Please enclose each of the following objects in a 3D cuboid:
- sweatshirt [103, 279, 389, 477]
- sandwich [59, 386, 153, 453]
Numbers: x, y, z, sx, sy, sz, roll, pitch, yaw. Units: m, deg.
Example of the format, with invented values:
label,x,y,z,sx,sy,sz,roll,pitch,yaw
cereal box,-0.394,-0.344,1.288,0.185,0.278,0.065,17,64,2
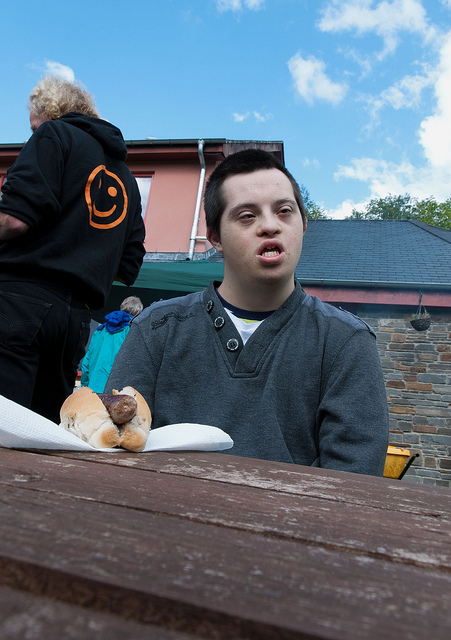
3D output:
label,x,y,z,sx,sy,sz,roll,pitch,yaw
sweatshirt,0.053,0.163,1.463,0.816,0.523,0.384,6,1,7
sandwich,-0.234,0.177,0.955,0.154,0.096,0.275,9,-5,-28
